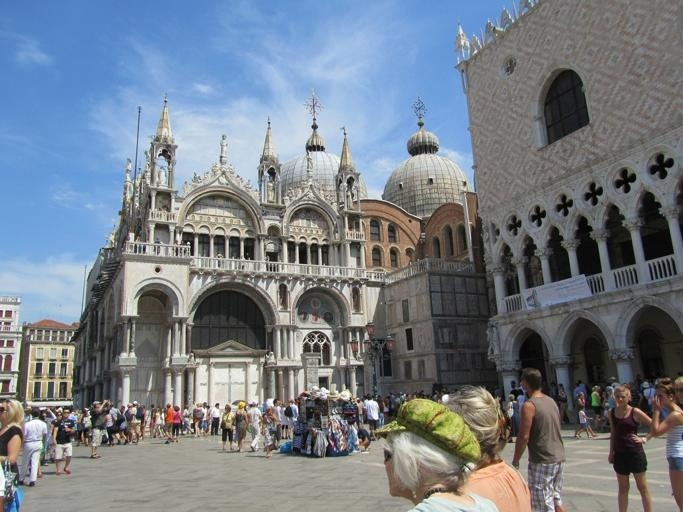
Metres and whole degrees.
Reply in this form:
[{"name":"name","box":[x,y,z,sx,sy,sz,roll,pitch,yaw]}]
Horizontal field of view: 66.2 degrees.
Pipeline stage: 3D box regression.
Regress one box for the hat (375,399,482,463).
[{"name":"hat","box":[0.649,1.248,3.847,0.810,0.344,0.598,10,-15,25]}]

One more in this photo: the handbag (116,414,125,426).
[{"name":"handbag","box":[-10.191,7.558,24.128,0.452,0.640,0.347,0,-1,9]}]
